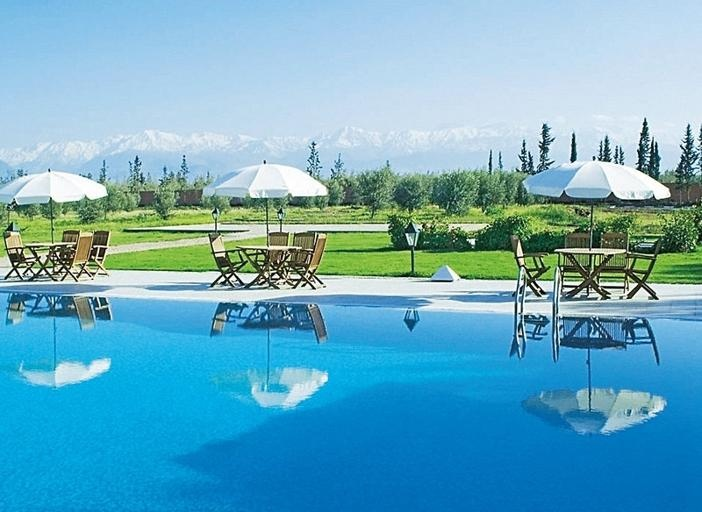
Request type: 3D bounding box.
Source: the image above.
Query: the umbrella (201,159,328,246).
[{"bbox_3d":[-1.930,-1.407,15.218,2.213,1.597,2.192,-1,2,-38],"label":"umbrella"}]

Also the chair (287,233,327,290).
[{"bbox_3d":[-1.056,0.129,16.076,1.084,1.692,1.199,-1,0,12],"label":"chair"}]

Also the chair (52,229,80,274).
[{"bbox_3d":[-7.736,-0.129,17.775,0.654,1.018,0.670,-9,-5,26],"label":"chair"}]

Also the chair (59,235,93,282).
[{"bbox_3d":[-7.212,0.092,17.327,0.953,1.302,0.964,-10,7,-28],"label":"chair"}]

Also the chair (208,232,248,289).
[{"bbox_3d":[-3.058,0.116,16.252,0.804,1.267,0.752,3,5,10],"label":"chair"}]

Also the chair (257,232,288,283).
[{"bbox_3d":[-1.772,0.240,15.903,0.617,1.321,0.894,1,45,-5],"label":"chair"}]
